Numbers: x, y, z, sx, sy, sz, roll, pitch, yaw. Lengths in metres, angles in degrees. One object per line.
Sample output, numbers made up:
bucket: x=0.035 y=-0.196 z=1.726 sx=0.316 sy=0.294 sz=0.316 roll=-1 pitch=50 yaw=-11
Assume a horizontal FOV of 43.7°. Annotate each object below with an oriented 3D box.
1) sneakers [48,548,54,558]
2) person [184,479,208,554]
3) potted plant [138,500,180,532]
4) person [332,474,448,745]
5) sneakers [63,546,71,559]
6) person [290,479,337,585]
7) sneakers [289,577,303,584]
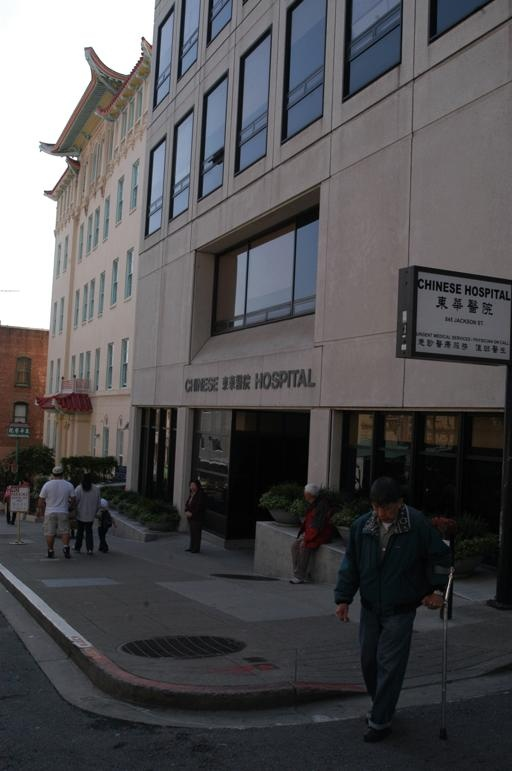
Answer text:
sneakers: x=-4.090 y=3.380 z=12.809 sx=0.117 sy=0.174 sz=0.188 roll=2 pitch=-9 yaw=-21
person: x=-1.531 y=3.273 z=15.952 sx=0.454 sy=1.753 sz=2.173 roll=0 pitch=-8 yaw=-7
potted plant: x=-2.952 y=4.077 z=19.858 sx=1.173 sy=0.897 sz=1.572 roll=2 pitch=-9 yaw=-19
person: x=0.781 y=1.281 z=3.694 sx=0.674 sy=1.476 sz=0.385 roll=-3 pitch=-8 yaw=19
sneakers: x=-3.785 y=3.347 z=12.897 sx=0.103 sy=0.165 sz=0.342 roll=2 pitch=-3 yaw=-14
person: x=0.929 y=2.438 z=10.565 sx=0.690 sy=1.569 sz=0.879 roll=-3 pitch=-8 yaw=14
sneakers: x=0.632 y=3.132 z=10.263 sx=0.077 sy=0.113 sz=0.229 roll=-6 pitch=-18 yaw=33
